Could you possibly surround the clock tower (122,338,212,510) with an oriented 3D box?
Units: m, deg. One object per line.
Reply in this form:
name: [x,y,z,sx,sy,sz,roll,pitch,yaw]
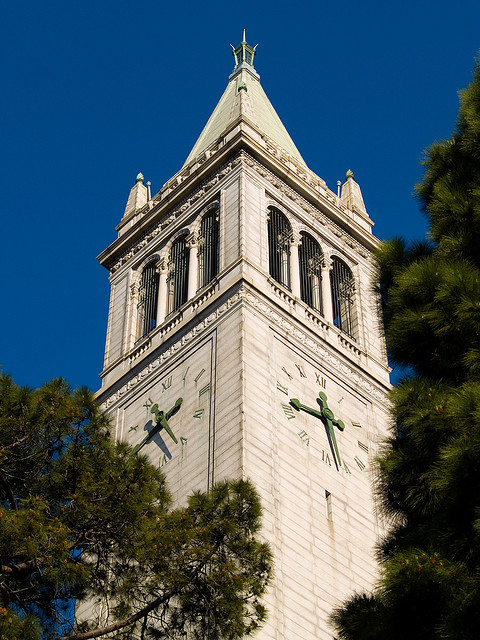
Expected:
clock tower: [-1.741,2.269,40.882,0.427,4.313,3.780,32,-51,-30]
